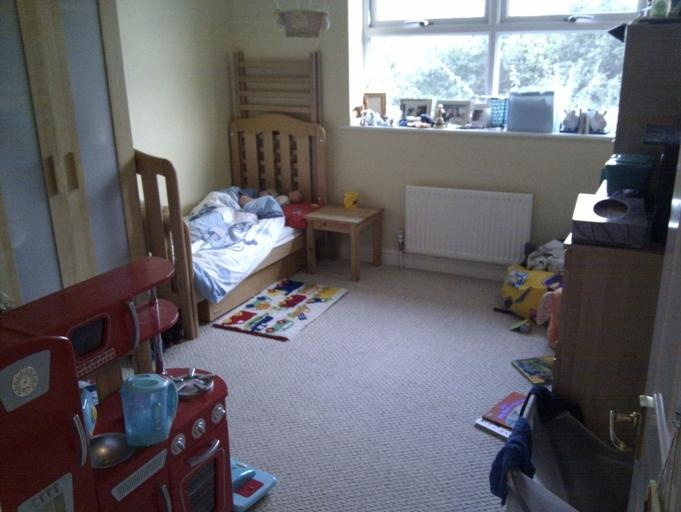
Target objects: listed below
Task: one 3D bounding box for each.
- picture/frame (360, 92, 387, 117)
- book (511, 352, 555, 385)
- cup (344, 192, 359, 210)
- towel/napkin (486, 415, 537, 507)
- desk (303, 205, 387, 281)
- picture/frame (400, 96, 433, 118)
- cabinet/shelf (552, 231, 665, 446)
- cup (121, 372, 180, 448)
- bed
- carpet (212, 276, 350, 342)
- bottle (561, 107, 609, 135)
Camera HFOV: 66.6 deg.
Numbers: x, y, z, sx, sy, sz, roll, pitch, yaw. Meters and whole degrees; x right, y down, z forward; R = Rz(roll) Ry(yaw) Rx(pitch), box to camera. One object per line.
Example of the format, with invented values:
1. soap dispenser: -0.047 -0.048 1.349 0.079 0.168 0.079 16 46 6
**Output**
1. picture/frame: 0.271 -1.228 4.225 0.223 0.231 0.018 6 13 17
2. book: 1.087 0.628 2.895 0.279 0.012 0.310 -6 16 0
3. cup: 0.085 -0.436 4.200 0.136 0.128 0.100 3 16 10
4. towel/napkin: 0.539 0.647 1.668 0.104 0.108 0.293 -1 20 20
5. desk: -0.005 -0.156 4.329 0.620 0.594 0.593 6 16 25
6. picture/frame: 0.608 -1.184 4.142 0.271 0.190 0.149 7 16 28
7. cabinet/shelf: 0.944 0.223 1.885 0.334 0.573 0.216 -1 18 7
8. cup: -0.617 0.501 1.685 0.195 0.187 0.156 -2 4 -37
9. bed: -0.934 -0.518 4.880 1.028 1.201 1.571 -8 4 -32
10. carpet: -0.410 0.366 3.619 0.573 0.089 0.819 10 19 28
11. bottle: 1.646 -0.915 3.522 0.241 0.095 0.169 8 17 32
